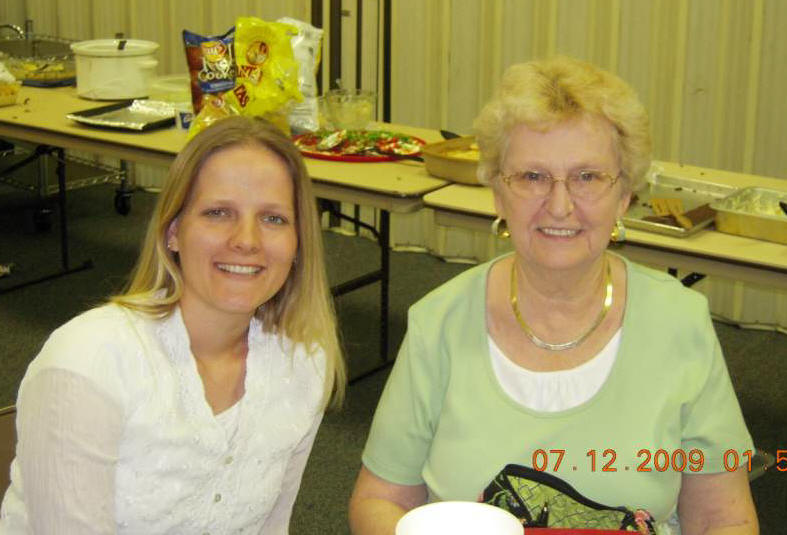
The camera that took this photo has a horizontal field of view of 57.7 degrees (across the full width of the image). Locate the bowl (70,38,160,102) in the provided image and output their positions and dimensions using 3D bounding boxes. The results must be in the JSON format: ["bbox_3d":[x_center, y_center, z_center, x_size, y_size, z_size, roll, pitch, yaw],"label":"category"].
[{"bbox_3d":[-1.692,-1.210,4.369,0.569,0.289,0.479,23,30,37],"label":"bowl"}]

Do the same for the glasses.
[{"bbox_3d":[0.372,-0.186,1.594,0.250,0.064,0.053,2,18,3],"label":"glasses"}]

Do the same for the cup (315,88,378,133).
[{"bbox_3d":[-0.253,-0.822,3.845,0.299,0.190,0.293,-1,5,0],"label":"cup"}]

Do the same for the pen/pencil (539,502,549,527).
[{"bbox_3d":[0.327,0.537,1.556,0.019,0.045,0.024,4,18,10],"label":"pen/pencil"}]
